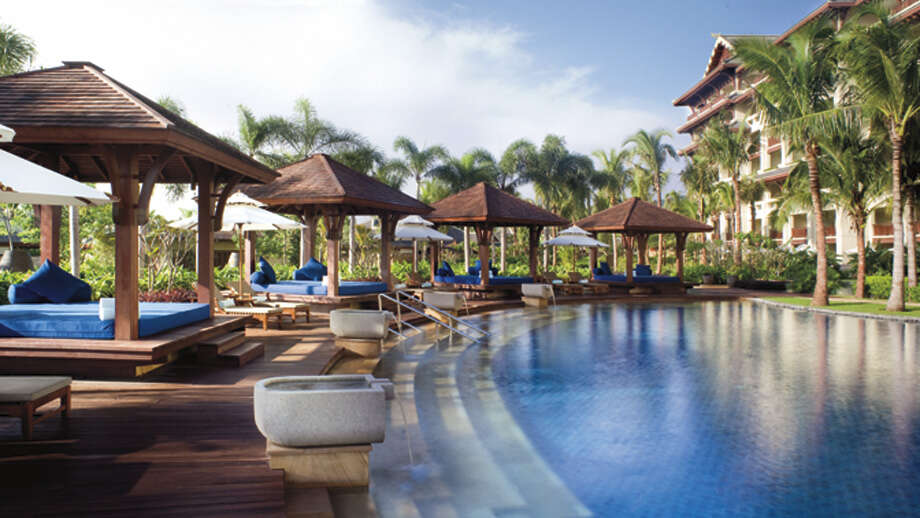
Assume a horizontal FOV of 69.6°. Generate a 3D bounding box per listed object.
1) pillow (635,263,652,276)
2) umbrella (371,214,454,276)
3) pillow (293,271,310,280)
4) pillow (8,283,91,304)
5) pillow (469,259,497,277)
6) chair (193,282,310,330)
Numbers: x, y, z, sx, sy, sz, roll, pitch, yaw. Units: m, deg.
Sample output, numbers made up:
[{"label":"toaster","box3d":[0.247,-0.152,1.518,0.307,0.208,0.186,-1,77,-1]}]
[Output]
[{"label":"pillow","box3d":[9.642,0.595,34.806,0.736,0.656,2.180,-1,-2,14]},{"label":"umbrella","box3d":[-1.712,-0.576,29.883,3.062,2.415,2.883,-6,8,-33]},{"label":"pillow","box3d":[-6.083,0.665,25.113,0.407,0.141,0.389,3,-12,0]},{"label":"pillow","box3d":[-11.110,0.941,17.859,1.881,0.530,0.489,0,-2,-17]},{"label":"pillow","box3d":[1.044,0.494,32.033,1.000,0.910,0.988,2,-5,-22]},{"label":"chair","box3d":[-6.389,1.592,21.098,2.186,1.206,2.993,-2,-3,35]}]
